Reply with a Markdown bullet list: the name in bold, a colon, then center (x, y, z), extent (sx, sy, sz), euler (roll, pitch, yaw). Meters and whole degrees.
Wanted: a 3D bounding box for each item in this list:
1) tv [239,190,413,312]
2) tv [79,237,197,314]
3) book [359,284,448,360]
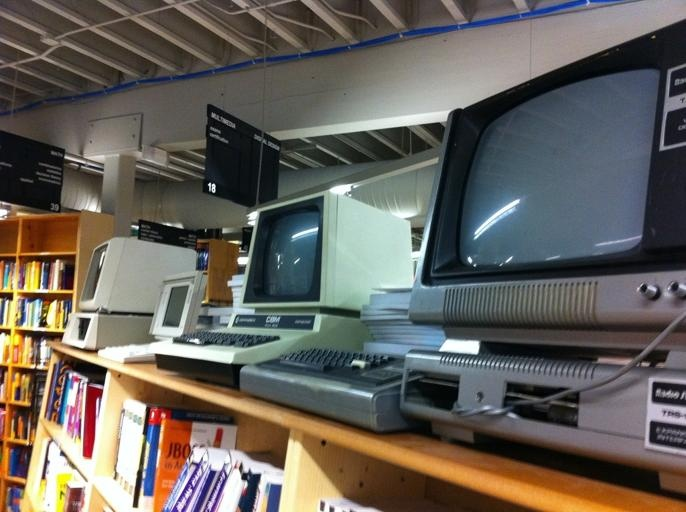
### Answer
- **tv**: center (-0.066, 0.091, 1.777), extent (0.460, 0.378, 0.446), euler (12, -16, -36)
- **tv**: center (-1.216, 0.115, 2.895), extent (0.557, 0.587, 0.418), euler (12, -2, -30)
- **book**: center (0.170, 0.171, 1.370), extent (0.189, 0.125, 0.198), euler (2, 1, 10)
